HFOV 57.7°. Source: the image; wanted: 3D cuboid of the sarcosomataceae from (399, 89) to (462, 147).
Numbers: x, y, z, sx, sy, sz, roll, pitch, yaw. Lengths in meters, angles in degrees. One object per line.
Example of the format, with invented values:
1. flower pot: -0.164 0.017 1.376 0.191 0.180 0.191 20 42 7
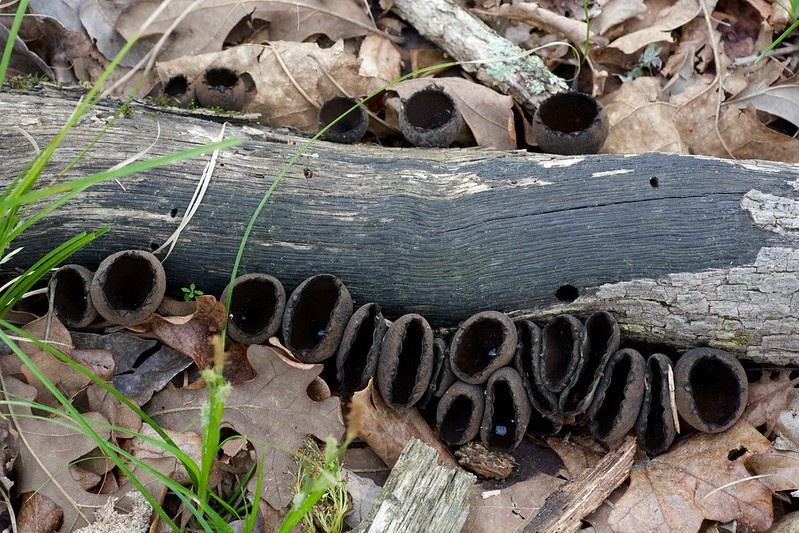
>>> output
1. sarcosomataceae: 0.218 -0.978 4.829 0.402 0.290 0.390 -2 67 6

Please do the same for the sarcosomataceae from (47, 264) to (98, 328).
1. sarcosomataceae: -1.976 0.176 4.370 0.281 0.384 0.294 -13 24 -25
